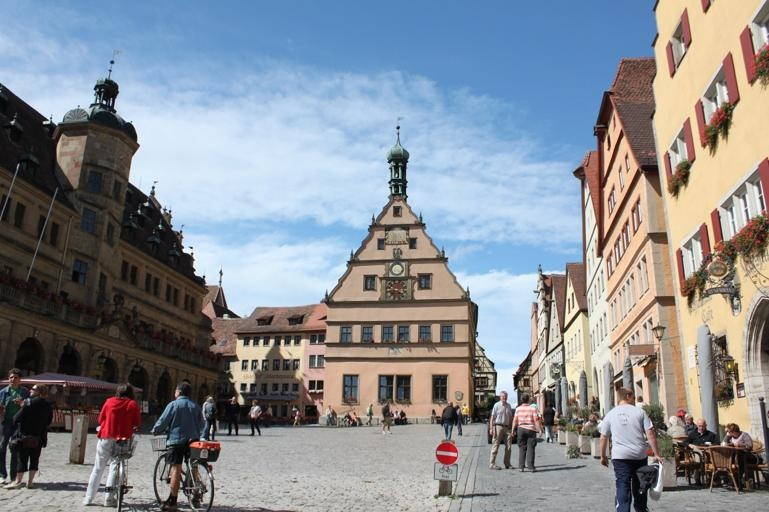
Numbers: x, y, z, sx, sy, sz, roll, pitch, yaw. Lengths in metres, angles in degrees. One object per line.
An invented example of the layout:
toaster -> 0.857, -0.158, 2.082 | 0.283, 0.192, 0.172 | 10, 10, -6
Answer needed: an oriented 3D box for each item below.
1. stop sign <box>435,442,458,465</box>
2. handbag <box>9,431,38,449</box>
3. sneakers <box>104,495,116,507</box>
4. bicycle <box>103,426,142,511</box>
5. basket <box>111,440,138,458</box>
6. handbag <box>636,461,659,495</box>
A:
stop sign -> 1.480, 4.652, 14.786 | 0.456, 0.529, 0.717 | -3, -21, 8
handbag -> -8.100, 4.179, 14.138 | 0.556, 0.257, 0.201 | 11, -23, -28
sneakers -> -5.688, 5.066, 12.936 | 0.134, 0.251, 0.360 | 3, -10, 0
bicycle -> -5.668, 4.655, 13.480 | 0.521, 1.526, 2.190 | 7, -22, -20
basket -> -5.441, 4.027, 13.120 | 0.353, 0.417, 0.448 | 6, -1, -9
handbag -> 4.927, 4.141, 11.707 | 0.209, 0.519, 0.391 | 16, -17, -24
